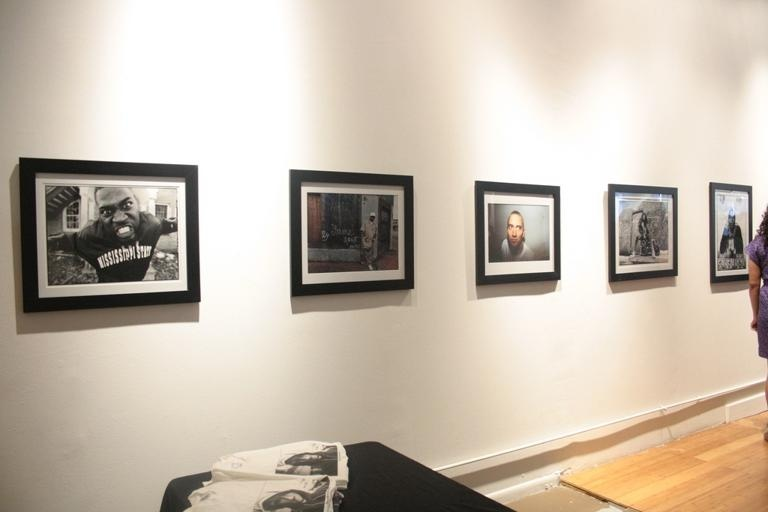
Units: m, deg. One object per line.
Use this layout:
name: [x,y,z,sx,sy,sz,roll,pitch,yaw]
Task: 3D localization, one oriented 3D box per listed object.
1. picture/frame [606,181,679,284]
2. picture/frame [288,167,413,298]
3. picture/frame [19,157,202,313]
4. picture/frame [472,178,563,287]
picture/frame: [2.462,-0.209,5.454,0.851,0.869,0.039,-1,2,-22]
picture/frame: [-0.293,-0.178,4.172,0.908,0.895,0.069,-2,4,-26]
picture/frame: [-1.802,-0.140,3.656,0.962,0.952,0.072,-1,-1,-21]
picture/frame: [1.066,-0.200,4.750,0.861,0.890,0.060,-1,2,-26]
